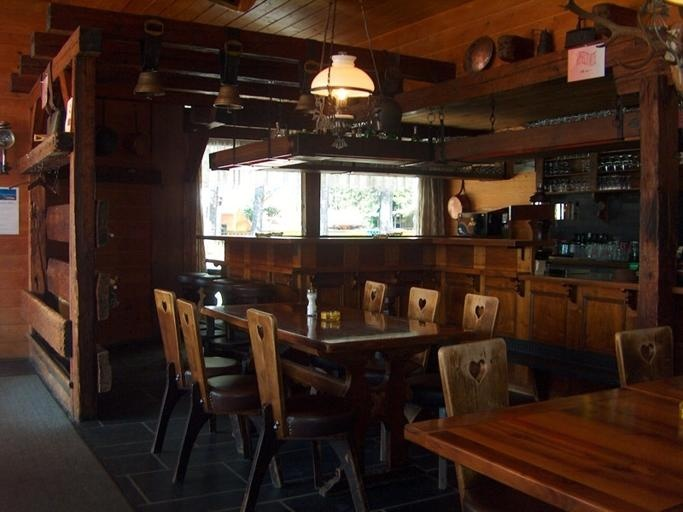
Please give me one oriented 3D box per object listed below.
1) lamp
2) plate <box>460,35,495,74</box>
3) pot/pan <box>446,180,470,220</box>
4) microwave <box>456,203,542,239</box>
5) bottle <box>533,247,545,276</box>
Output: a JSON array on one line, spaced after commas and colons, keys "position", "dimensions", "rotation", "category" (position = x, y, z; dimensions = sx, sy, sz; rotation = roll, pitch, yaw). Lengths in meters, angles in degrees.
[{"position": [0.018, -1.380, 4.323], "dimensions": [0.388, 0.353, 0.382], "rotation": [2, 5, 28], "category": "lamp"}, {"position": [1.463, -2.123, 5.972], "dimensions": [0.366, 0.368, 0.112], "rotation": [4, 6, 43], "category": "plate"}, {"position": [2.269, -1.095, 10.869], "dimensions": [0.215, 0.587, 0.960], "rotation": [-5, 9, -23], "category": "pot/pan"}, {"position": [2.033, -0.436, 7.073], "dimensions": [0.491, 0.287, 0.782], "rotation": [1, 0, -29], "category": "microwave"}, {"position": [2.197, 0.063, 6.205], "dimensions": [0.127, 0.243, 0.318], "rotation": [1, 5, 19], "category": "bottle"}]
